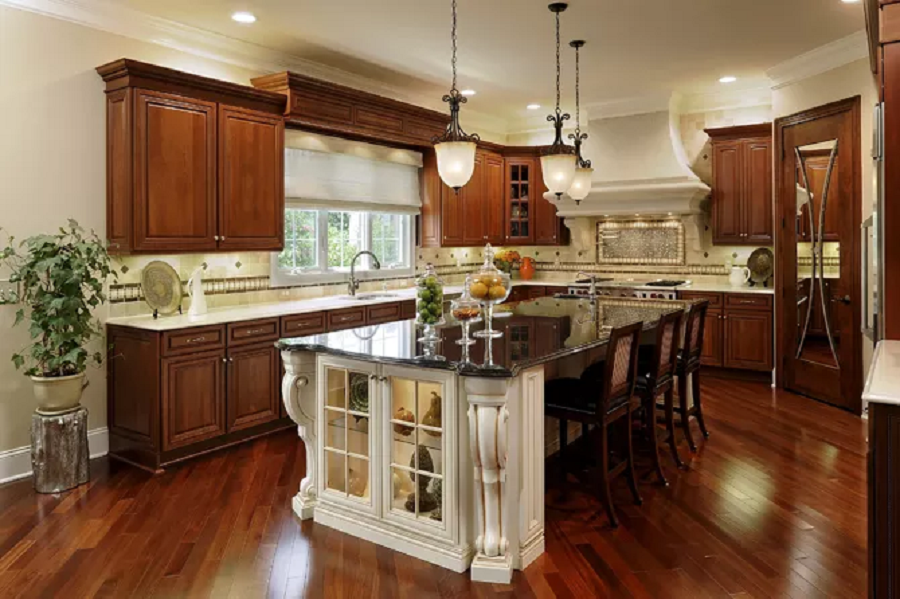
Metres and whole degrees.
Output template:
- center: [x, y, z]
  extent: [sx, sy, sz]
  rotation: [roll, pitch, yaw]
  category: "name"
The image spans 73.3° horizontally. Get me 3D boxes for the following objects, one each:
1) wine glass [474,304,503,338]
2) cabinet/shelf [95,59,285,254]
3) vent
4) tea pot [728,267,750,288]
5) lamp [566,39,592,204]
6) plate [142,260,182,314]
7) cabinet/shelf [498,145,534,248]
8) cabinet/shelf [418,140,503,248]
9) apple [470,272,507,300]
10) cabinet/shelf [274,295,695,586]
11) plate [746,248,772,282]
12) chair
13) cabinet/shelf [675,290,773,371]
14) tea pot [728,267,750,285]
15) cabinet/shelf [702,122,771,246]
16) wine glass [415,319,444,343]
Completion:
- center: [0.282, 0.150, 4.410]
  extent: [0.218, 0.251, 0.226]
  rotation: [1, 2, 36]
  category: "wine glass"
- center: [-2.295, -1.213, 5.189]
  extent: [0.536, 1.765, 1.868]
  rotation: [1, 1, 40]
  category: "cabinet/shelf"
- center: [2.365, -1.420, 7.875]
  extent: [1.953, 0.447, 0.796]
  rotation: [8, 32, 44]
  category: "vent"
- center: [3.461, -0.270, 7.247]
  extent: [0.257, 0.263, 0.205]
  rotation: [-1, 1, 5]
  category: "tea pot"
- center: [1.177, -1.630, 5.538]
  extent: [0.303, 1.392, 0.301]
  rotation: [4, 16, 28]
  category: "lamp"
- center: [-2.523, -0.109, 5.290]
  extent: [0.079, 0.412, 0.399]
  rotation: [-6, -2, 34]
  category: "plate"
- center: [1.014, -1.374, 8.554]
  extent: [0.451, 1.207, 0.125]
  rotation: [6, 12, 38]
  category: "cabinet/shelf"
- center: [0.278, -1.340, 8.265]
  extent: [0.479, 1.212, 1.357]
  rotation: [10, 12, 42]
  category: "cabinet/shelf"
- center: [0.272, -0.089, 4.196]
  extent: [0.204, 0.128, 0.214]
  rotation: [0, 0, -9]
  category: "apple"
- center: [0.323, 0.906, 4.904]
  extent: [2.160, 1.378, 2.865]
  rotation: [2, 6, 34]
  category: "cabinet/shelf"
- center: [3.753, -0.391, 7.284]
  extent: [0.091, 0.349, 0.341]
  rotation: [2, 1, -37]
  category: "plate"
- center: [1.328, 0.881, 4.582]
  extent: [0.547, 1.081, 1.427]
  rotation: [2, 5, 30]
  category: "chair"
- center: [3.002, 0.323, 6.471]
  extent: [0.915, 0.858, 0.475]
  rotation: [0, 0, 34]
  category: "cabinet/shelf"
- center: [3.516, -0.282, 7.242]
  extent: [0.236, 0.235, 0.187]
  rotation: [1, -2, -23]
  category: "tea pot"
- center: [3.602, -1.349, 7.311]
  extent: [0.803, 1.411, 0.409]
  rotation: [5, 18, 43]
  category: "cabinet/shelf"
- center: [-0.141, 0.223, 4.396]
  extent: [0.154, 0.167, 0.149]
  rotation: [0, 0, -12]
  category: "wine glass"
